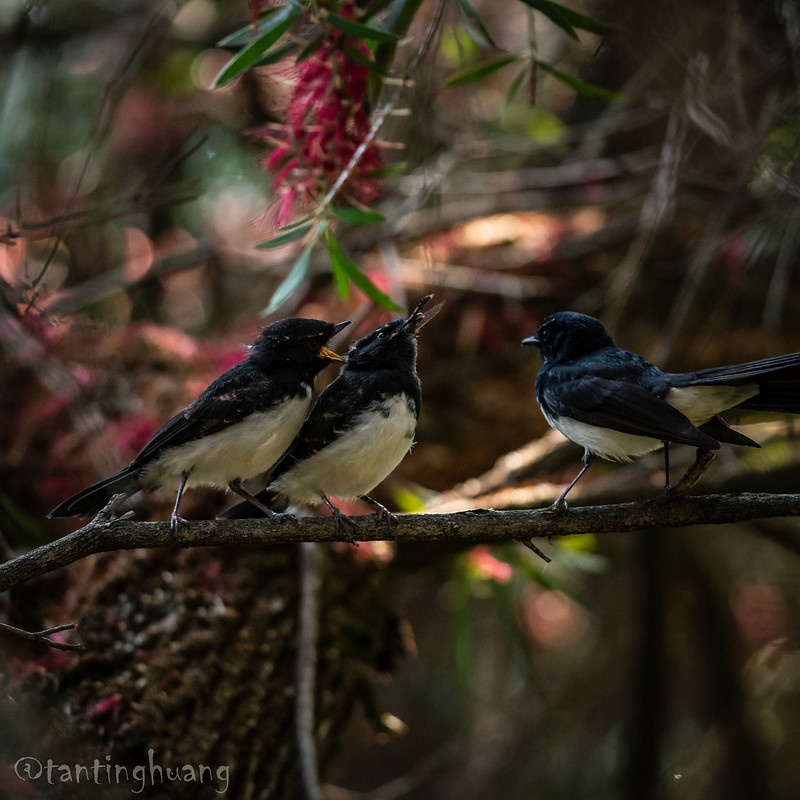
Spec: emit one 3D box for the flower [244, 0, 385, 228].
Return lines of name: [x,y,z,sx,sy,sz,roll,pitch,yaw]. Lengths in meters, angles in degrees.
flower: [-0.273,-1.020,3.690,0.598,0.355,0.768,9,76,0]
